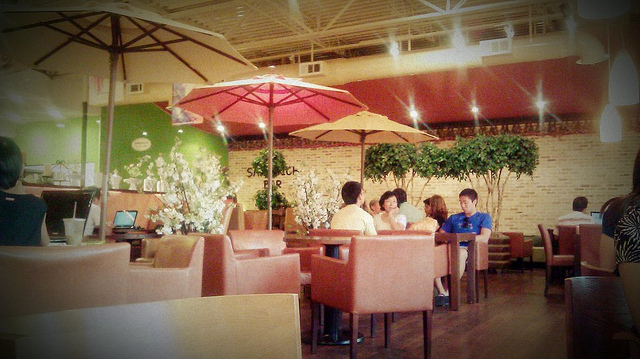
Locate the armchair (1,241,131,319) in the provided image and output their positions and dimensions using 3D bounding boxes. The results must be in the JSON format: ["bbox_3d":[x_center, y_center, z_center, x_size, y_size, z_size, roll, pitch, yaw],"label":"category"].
[{"bbox_3d":[-1.952,0.763,3.984,0.698,0.773,0.645,4,-11,-4],"label":"armchair"}]

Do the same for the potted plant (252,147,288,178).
[{"bbox_3d":[-1.196,-0.420,11.597,0.837,0.632,0.820,0,-2,-41],"label":"potted plant"}]

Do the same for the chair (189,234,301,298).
[{"bbox_3d":[-0.865,0.823,5.448,0.936,0.650,0.855,3,-6,-36],"label":"chair"}]

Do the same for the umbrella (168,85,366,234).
[{"bbox_3d":[-0.717,-0.682,7.517,2.713,2.255,2.765,3,1,39],"label":"umbrella"}]

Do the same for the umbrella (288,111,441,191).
[{"bbox_3d":[0.835,-0.773,9.004,2.003,1.184,1.841,2,4,1],"label":"umbrella"}]

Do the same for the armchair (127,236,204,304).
[{"bbox_3d":[-1.531,0.846,4.673,0.678,0.659,0.643,16,-20,-41],"label":"armchair"}]

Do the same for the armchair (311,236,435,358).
[{"bbox_3d":[0.762,1.220,5.590,1.287,1.622,1.334,2,-3,-23],"label":"armchair"}]

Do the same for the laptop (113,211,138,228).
[{"bbox_3d":[-3.281,0.644,8.164,0.336,0.226,0.284,4,-3,-15],"label":"laptop"}]

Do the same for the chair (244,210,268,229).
[{"bbox_3d":[-1.531,0.914,11.668,0.769,0.504,0.674,-2,-7,6],"label":"chair"}]

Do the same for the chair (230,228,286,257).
[{"bbox_3d":[-0.806,0.879,6.050,0.741,0.460,0.380,-7,-16,9],"label":"chair"}]

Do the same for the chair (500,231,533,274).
[{"bbox_3d":[4.549,1.699,11.379,0.682,0.918,0.673,-2,-8,-33],"label":"chair"}]
